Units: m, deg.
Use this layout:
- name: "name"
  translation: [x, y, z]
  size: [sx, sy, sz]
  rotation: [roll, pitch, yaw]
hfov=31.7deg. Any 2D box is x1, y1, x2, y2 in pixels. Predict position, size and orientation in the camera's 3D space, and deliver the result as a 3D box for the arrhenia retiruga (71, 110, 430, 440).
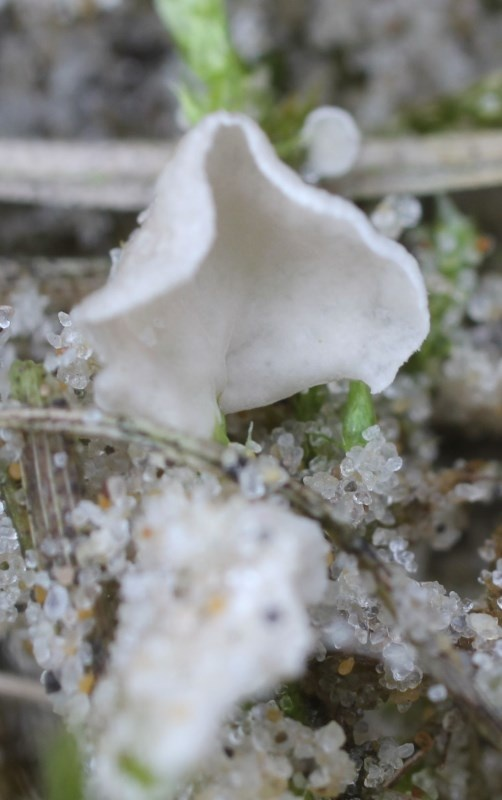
- name: "arrhenia retiruga"
  translation: [-0.017, -0.050, 0.449]
  size: [0.172, 0.157, 0.119]
  rotation: [-30, 53, -23]
